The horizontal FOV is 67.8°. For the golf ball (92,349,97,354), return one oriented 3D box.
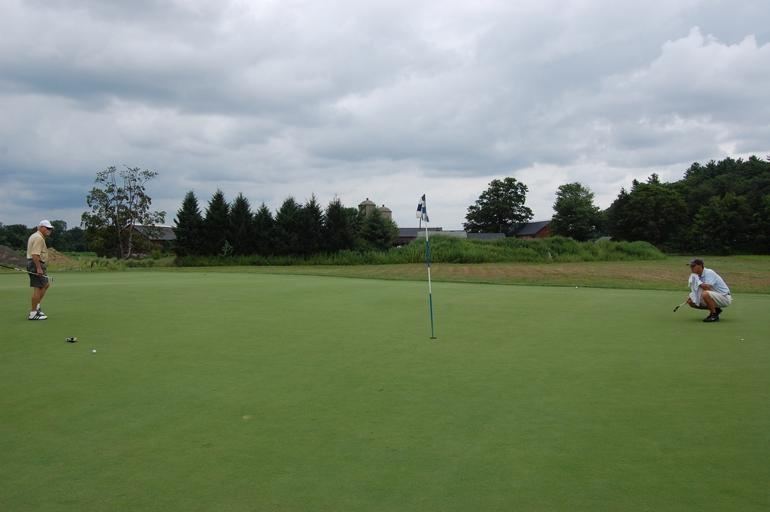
[{"bbox_3d":[-5.260,1.721,10.366,0.064,0.043,0.060,1,-1,0],"label":"golf ball"}]

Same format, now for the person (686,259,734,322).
[{"bbox_3d":[7.805,0.773,13.802,0.856,1.444,1.604,0,0,25],"label":"person"}]
